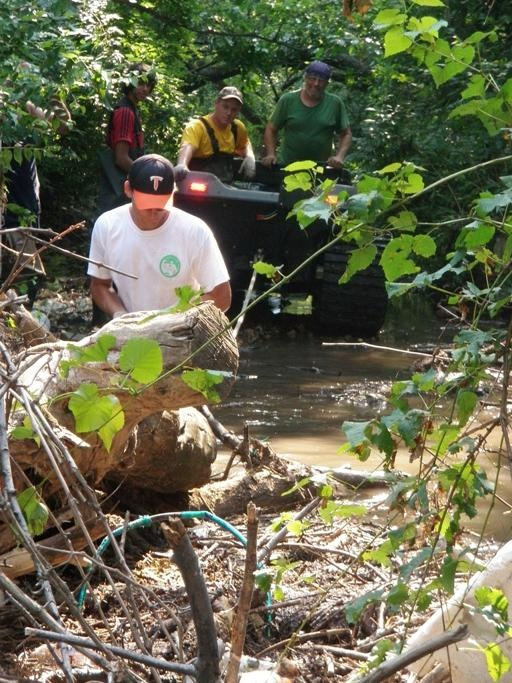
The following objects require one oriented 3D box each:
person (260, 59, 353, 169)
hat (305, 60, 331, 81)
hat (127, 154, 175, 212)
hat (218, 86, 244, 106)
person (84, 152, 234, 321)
[{"bbox_3d":[0.608,-2.192,8.263,0.988,0.982,0.561,18,23,38],"label":"person"},{"bbox_3d":[0.590,-2.541,7.986,0.236,0.119,0.204,13,25,0],"label":"hat"},{"bbox_3d":[-0.461,-0.705,3.781,0.203,0.244,0.268,1,17,-8],"label":"hat"},{"bbox_3d":[-0.202,-2.120,7.249,0.174,0.106,0.208,9,-1,-6],"label":"hat"},{"bbox_3d":[-0.450,-0.480,3.880,0.682,0.733,0.437,6,19,8],"label":"person"}]
